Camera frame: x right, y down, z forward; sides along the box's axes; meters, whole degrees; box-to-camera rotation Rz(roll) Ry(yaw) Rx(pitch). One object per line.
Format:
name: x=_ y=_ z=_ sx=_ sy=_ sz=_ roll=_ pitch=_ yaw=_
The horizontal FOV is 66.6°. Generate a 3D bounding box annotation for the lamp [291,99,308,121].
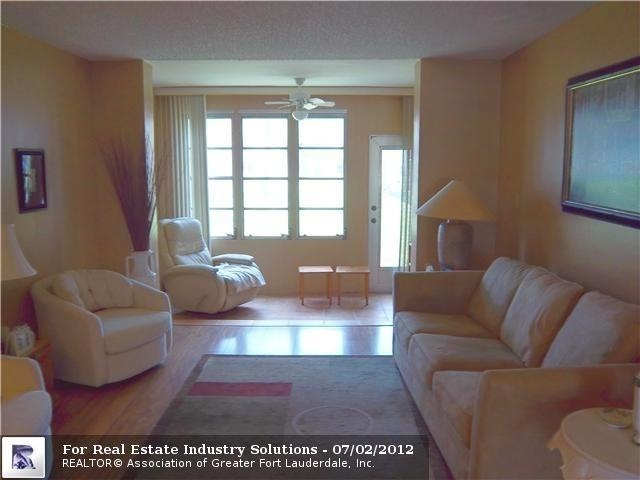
lamp: x=-0.207 y=-1.611 z=6.026 sx=0.235 sy=0.246 sz=0.227 roll=0 pitch=2 yaw=-28

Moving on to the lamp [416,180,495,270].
lamp: x=1.366 y=-0.166 z=5.036 sx=0.804 sy=1.034 sz=0.848 roll=2 pitch=5 yaw=20

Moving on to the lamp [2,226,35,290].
lamp: x=-2.202 y=0.084 z=3.556 sx=0.188 sy=0.388 sz=0.308 roll=-3 pitch=10 yaw=-15

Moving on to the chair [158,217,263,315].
chair: x=-1.381 y=0.247 z=6.327 sx=1.230 sy=1.197 sz=1.202 roll=3 pitch=7 yaw=10

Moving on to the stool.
stool: x=0.195 y=0.585 z=6.822 sx=0.940 sy=0.537 sz=0.936 roll=0 pitch=10 yaw=0

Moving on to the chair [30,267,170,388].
chair: x=-1.921 y=0.733 z=4.314 sx=0.983 sy=0.938 sz=0.958 roll=3 pitch=7 yaw=17

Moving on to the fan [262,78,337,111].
fan: x=-0.269 y=-1.828 z=6.104 sx=0.790 sy=0.302 sz=0.808 roll=2 pitch=15 yaw=37
